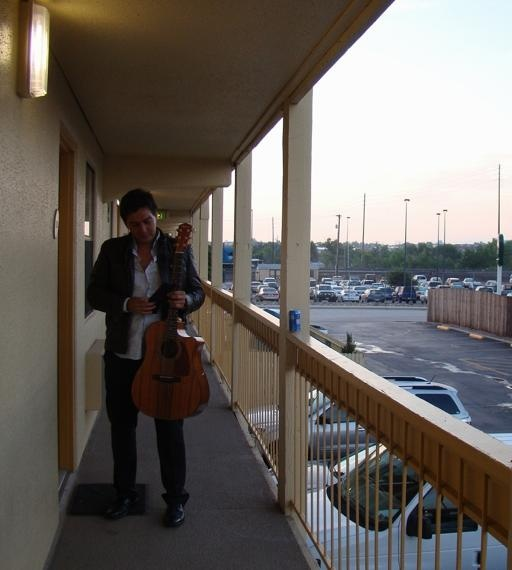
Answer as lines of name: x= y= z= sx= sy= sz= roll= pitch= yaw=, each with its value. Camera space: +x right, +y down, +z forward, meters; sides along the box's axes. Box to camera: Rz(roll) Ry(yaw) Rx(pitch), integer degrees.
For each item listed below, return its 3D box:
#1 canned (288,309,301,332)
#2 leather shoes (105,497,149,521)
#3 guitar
canned: x=0.245 y=0.229 z=3.161 sx=0.079 sy=0.141 sz=0.052 roll=4 pitch=0 yaw=5
leather shoes: x=-0.745 y=1.290 z=2.899 sx=0.089 sy=0.141 sz=0.253 roll=0 pitch=-16 yaw=40
guitar: x=-0.469 y=0.227 z=2.826 sx=0.327 sy=1.154 sz=0.136 roll=-1 pitch=-34 yaw=-2
